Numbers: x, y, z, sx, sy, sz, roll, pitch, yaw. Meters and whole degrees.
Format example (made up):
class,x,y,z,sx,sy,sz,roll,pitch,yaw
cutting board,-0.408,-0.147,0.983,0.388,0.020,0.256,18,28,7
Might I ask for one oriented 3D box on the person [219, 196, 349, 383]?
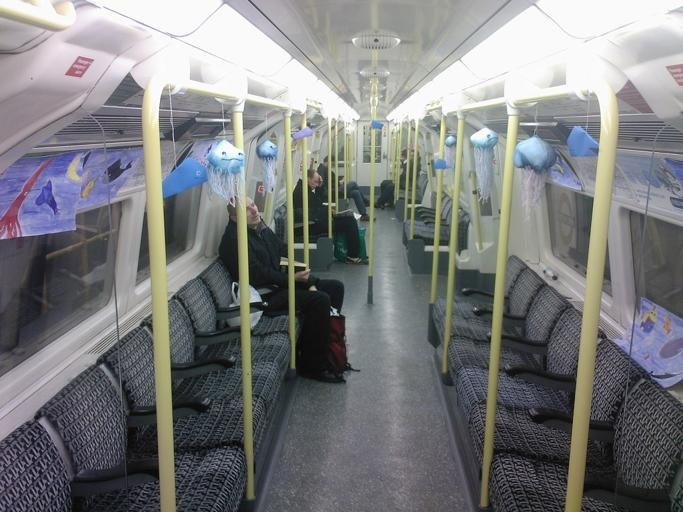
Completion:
class,x,y,z,sx,sy,sz,roll,pitch,yaw
person,-0.816,-0.029,5.006,1.306,0.953,0.757,-19,3,-13

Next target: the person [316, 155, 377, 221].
class,x,y,z,sx,sy,sz,roll,pitch,yaw
person,-0.005,-2.087,13.462,1.449,2.655,1.043,-10,-13,-5

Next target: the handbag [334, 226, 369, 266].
class,x,y,z,sx,sy,sz,roll,pitch,yaw
handbag,0.251,-0.290,8.922,0.476,0.877,0.851,4,33,8

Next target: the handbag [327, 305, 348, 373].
class,x,y,z,sx,sy,sz,roll,pitch,yaw
handbag,-0.056,0.962,4.728,0.265,0.776,0.645,-2,4,-7

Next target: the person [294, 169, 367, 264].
class,x,y,z,sx,sy,sz,roll,pitch,yaw
person,-0.332,-1.015,9.103,1.235,1.859,0.804,-7,-21,5
